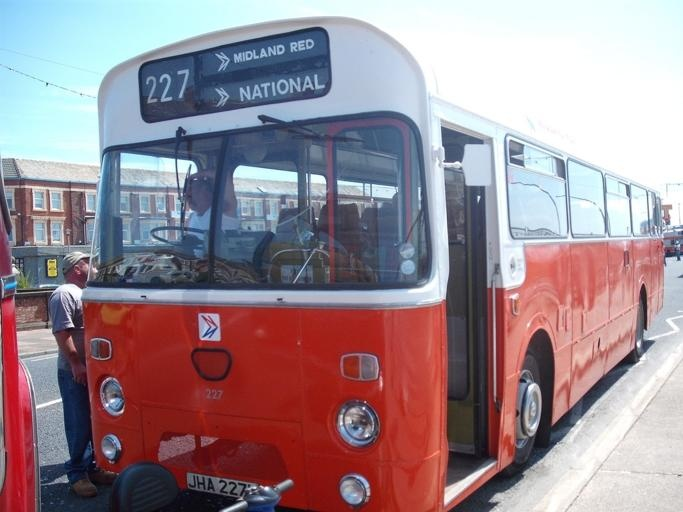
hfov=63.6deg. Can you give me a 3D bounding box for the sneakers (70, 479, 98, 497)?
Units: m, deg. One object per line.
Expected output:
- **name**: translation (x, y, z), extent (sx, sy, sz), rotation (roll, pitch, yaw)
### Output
- **sneakers**: translation (-2.509, 2.287, 5.393), extent (0.289, 0.135, 0.111), rotation (-6, -6, 36)

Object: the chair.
- **chair**: translation (-0.093, -0.067, 3.899), extent (0.653, 0.540, 0.693), rotation (0, 1, 32)
